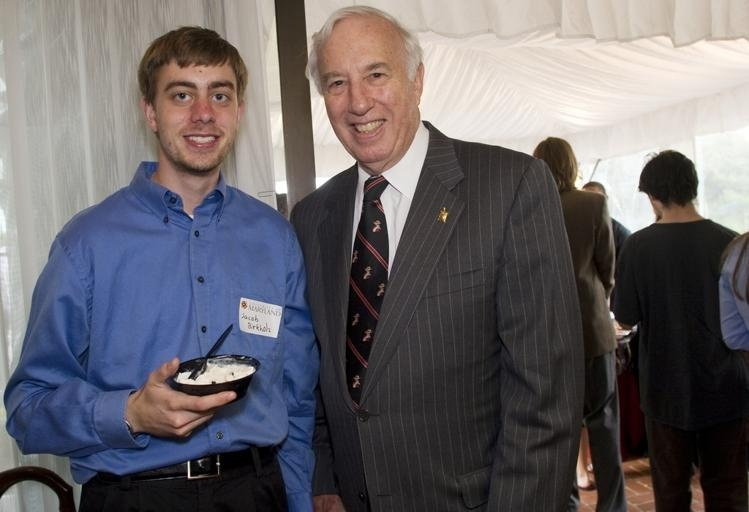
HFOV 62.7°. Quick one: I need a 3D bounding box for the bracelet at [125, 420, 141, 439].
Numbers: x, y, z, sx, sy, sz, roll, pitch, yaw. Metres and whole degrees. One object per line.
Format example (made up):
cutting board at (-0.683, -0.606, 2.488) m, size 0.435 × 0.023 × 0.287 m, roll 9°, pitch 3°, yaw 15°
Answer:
bracelet at (-0.900, 0.640, 2.288) m, size 0.034 × 0.052 × 0.053 m, roll -30°, pitch 4°, yaw -28°
